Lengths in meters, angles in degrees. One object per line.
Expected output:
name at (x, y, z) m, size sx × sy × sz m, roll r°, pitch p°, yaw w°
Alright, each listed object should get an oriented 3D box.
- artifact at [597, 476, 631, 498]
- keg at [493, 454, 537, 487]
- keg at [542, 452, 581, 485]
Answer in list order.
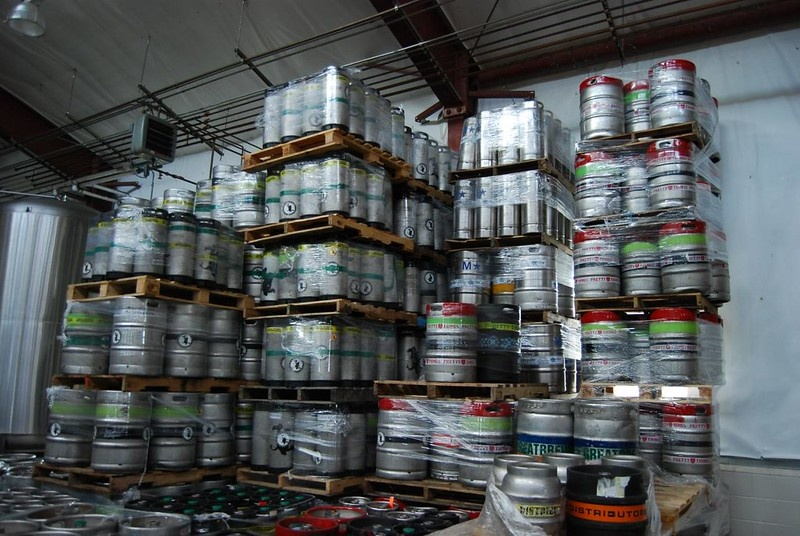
artifact at (1.545, 1.586, 5.202) m, size 0.246 × 0.099 × 0.189 m, roll -6°, pitch -12°, yaw 32°
keg at (0.867, 1.561, 5.560) m, size 0.321 × 0.112 × 0.272 m, roll 4°, pitch -7°, yaw -31°
keg at (1.284, 1.580, 5.653) m, size 0.373 × 0.136 × 0.266 m, roll -1°, pitch -9°, yaw 6°
